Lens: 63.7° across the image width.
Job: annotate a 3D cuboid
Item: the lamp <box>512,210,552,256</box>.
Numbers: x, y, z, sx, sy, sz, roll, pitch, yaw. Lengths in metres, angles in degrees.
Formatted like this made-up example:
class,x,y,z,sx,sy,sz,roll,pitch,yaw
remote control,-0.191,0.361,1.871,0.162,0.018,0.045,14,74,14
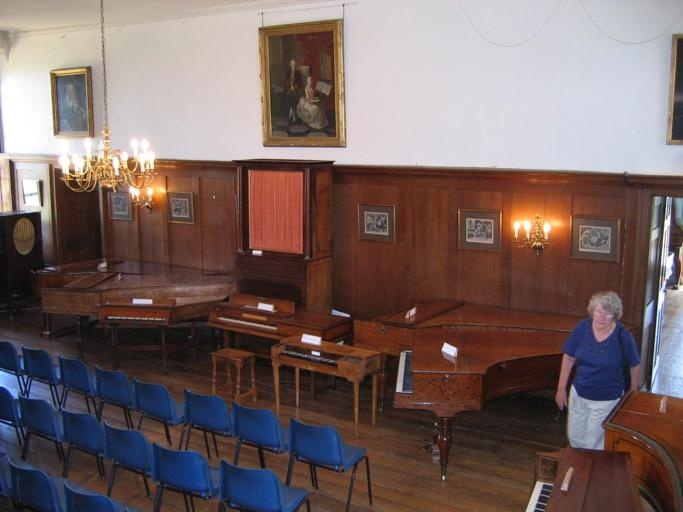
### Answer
class,x,y,z,sx,sy,sz,roll,pitch,yaw
lamp,2.971,-0.334,8.510,0.549,0.614,0.200,2,9,20

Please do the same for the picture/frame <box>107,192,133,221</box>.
class,x,y,z,sx,sy,sz,roll,pitch,yaw
picture/frame,-5.162,-1.182,12.773,0.557,0.621,0.059,8,10,30

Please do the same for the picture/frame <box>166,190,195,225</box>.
class,x,y,z,sx,sy,sz,roll,pitch,yaw
picture/frame,-3.472,-1.076,11.849,0.662,0.634,0.070,4,5,40

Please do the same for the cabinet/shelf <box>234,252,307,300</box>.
class,x,y,z,sx,sy,sz,roll,pitch,yaw
cabinet/shelf,-1.241,0.329,9.876,0.695,0.671,0.260,6,11,25

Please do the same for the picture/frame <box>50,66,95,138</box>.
class,x,y,z,sx,sy,sz,roll,pitch,yaw
picture/frame,-6.403,-3.741,13.071,1.557,1.938,0.193,4,7,37

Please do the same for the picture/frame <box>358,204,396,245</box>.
class,x,y,z,sx,sy,sz,roll,pitch,yaw
picture/frame,0.657,-0.596,9.739,0.613,0.632,0.051,7,11,29

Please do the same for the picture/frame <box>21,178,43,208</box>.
class,x,y,z,sx,sy,sz,roll,pitch,yaw
picture/frame,-7.863,-1.621,13.874,0.712,0.773,0.172,7,9,41

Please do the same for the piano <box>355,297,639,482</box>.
class,x,y,z,sx,sy,sz,roll,pitch,yaw
piano,1.468,1.286,7.315,2.449,1.084,2.552,5,8,34

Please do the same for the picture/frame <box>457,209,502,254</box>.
class,x,y,z,sx,sy,sz,roll,pitch,yaw
picture/frame,2.272,-0.431,8.893,0.620,0.650,0.024,7,10,31

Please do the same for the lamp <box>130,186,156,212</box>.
class,x,y,z,sx,sy,sz,roll,pitch,yaw
lamp,-4.403,-1.284,12.145,0.528,0.645,0.296,4,6,25

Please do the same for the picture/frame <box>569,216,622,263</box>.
class,x,y,z,sx,sy,sz,roll,pitch,yaw
picture/frame,3.785,-0.271,8.078,0.591,0.624,0.048,6,10,32

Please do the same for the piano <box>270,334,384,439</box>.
class,x,y,z,sx,sy,sz,roll,pitch,yaw
piano,-0.187,1.878,7.926,1.123,0.867,0.444,6,9,38

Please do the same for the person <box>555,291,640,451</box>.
class,x,y,z,sx,sy,sz,roll,pitch,yaw
person,2.757,1.461,5.918,0.787,2.356,0.592,8,28,30
